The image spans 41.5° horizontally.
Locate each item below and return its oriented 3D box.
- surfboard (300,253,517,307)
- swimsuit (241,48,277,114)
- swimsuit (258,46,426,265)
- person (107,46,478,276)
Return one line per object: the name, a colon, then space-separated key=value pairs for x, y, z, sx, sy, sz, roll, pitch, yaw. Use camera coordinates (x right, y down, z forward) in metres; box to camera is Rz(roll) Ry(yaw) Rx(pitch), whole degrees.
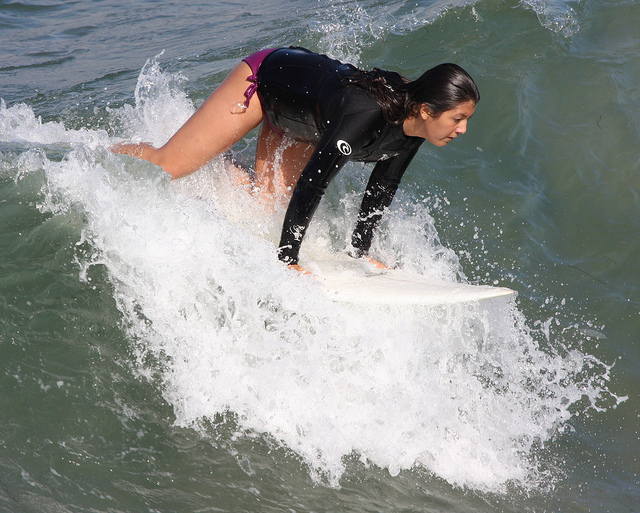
surfboard: x=0.469 y=0.188 z=5.350 sx=1.539 sy=0.180 sz=0.491 roll=7 pitch=14 yaw=27
swimsuit: x=-0.408 y=-1.133 z=5.463 sx=0.164 sy=0.348 sz=0.285 roll=9 pitch=25 yaw=8
swimsuit: x=0.040 y=-0.640 z=5.615 sx=1.000 sy=1.295 sz=1.188 roll=3 pitch=18 yaw=-32
person: x=-0.285 y=-0.817 z=5.700 sx=2.746 sy=1.442 sz=0.928 roll=26 pitch=24 yaw=35
